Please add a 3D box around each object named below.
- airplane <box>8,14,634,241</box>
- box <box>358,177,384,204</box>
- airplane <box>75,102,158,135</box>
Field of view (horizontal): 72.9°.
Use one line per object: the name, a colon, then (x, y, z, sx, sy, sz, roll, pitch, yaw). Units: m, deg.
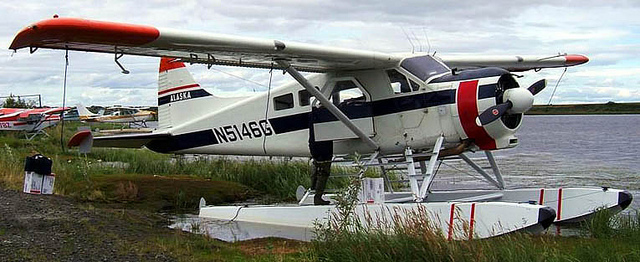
airplane: (-0.485, -0.530, 16.179, 12.680, 3.704, 13.398, 0, 0, 34)
box: (1.810, 2.084, 15.090, 0.817, 0.876, 0.273, 1, 0, -7)
airplane: (-25.471, -1.701, 54.940, 8.551, 3.106, 10.971, -2, 0, -43)
